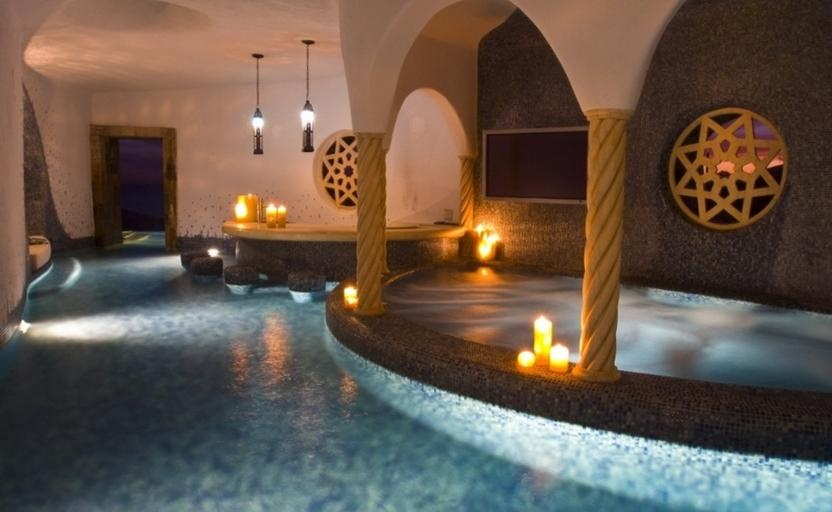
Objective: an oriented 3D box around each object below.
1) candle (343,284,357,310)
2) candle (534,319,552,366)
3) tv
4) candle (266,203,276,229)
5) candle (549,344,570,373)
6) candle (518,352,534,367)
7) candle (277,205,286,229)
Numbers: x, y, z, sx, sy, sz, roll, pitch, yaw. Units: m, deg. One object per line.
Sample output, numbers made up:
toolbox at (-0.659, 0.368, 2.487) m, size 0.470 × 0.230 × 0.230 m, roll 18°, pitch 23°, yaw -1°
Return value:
candle at (-0.665, 0.432, 5.579) m, size 0.190 × 0.354 × 0.192 m, roll 0°, pitch 0°, yaw -7°
candle at (0.988, 0.666, 4.271) m, size 0.132 × 0.348 × 0.172 m, roll 2°, pitch 10°, yaw 17°
tv at (1.646, -1.236, 7.368) m, size 1.335 × 0.823 × 0.060 m, roll 5°, pitch 8°, yaw 36°
candle at (-2.077, -0.572, 7.838) m, size 0.147 × 0.314 × 0.190 m, roll -3°, pitch 10°, yaw -14°
candle at (1.085, 0.785, 4.266) m, size 0.179 × 0.203 × 0.180 m, roll 3°, pitch 8°, yaw 28°
candle at (0.853, 0.798, 4.266) m, size 0.135 × 0.092 × 0.157 m, roll 2°, pitch 10°, yaw 15°
candle at (-1.950, -0.569, 7.885) m, size 0.107 × 0.287 × 0.311 m, roll -2°, pitch 10°, yaw -8°
